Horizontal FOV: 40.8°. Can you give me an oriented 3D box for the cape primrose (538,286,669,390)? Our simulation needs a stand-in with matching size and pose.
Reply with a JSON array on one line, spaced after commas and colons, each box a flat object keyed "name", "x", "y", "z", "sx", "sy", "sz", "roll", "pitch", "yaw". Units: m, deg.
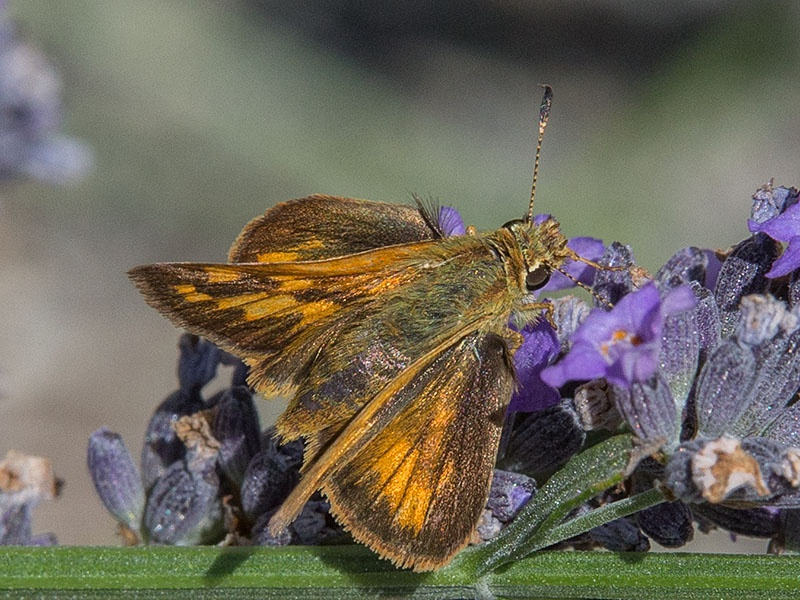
[{"name": "cape primrose", "x": 0.708, "y": 0.131, "z": 3.513, "sx": 0.383, "sy": 0.343, "sz": 0.169, "roll": -12, "pitch": -36, "yaw": 19}]

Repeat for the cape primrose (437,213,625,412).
[{"name": "cape primrose", "x": 0.574, "y": 0.110, "z": 4.372, "sx": 0.687, "sy": 0.684, "sz": 0.342, "roll": -1, "pitch": -41, "yaw": 42}]

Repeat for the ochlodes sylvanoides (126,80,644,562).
[{"name": "ochlodes sylvanoides", "x": -0.091, "y": 0.315, "z": 4.116, "sx": 1.561, "sy": 1.397, "sz": 0.319, "roll": 2, "pitch": -22, "yaw": -3}]
